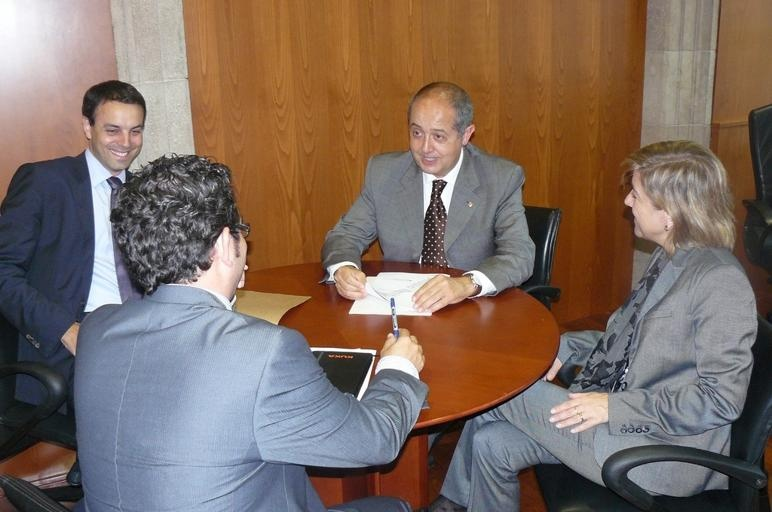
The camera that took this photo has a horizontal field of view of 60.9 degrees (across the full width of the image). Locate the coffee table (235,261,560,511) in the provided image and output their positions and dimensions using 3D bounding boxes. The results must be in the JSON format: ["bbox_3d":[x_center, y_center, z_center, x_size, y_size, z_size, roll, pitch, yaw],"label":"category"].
[{"bbox_3d":[0.165,0.473,2.907,1.050,0.699,1.076,-7,20,-15],"label":"coffee table"}]

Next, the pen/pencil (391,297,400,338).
[{"bbox_3d":[0.038,0.272,2.772,0.024,0.191,0.026,-6,-9,0],"label":"pen/pencil"}]

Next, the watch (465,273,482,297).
[{"bbox_3d":[0.425,0.137,3.151,0.046,0.091,0.092,-19,3,-17],"label":"watch"}]

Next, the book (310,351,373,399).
[{"bbox_3d":[-0.161,0.455,2.527,0.178,0.045,0.185,2,26,8],"label":"book"}]
